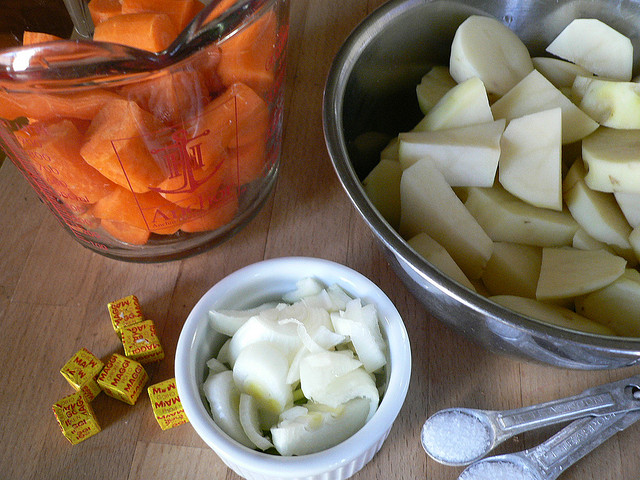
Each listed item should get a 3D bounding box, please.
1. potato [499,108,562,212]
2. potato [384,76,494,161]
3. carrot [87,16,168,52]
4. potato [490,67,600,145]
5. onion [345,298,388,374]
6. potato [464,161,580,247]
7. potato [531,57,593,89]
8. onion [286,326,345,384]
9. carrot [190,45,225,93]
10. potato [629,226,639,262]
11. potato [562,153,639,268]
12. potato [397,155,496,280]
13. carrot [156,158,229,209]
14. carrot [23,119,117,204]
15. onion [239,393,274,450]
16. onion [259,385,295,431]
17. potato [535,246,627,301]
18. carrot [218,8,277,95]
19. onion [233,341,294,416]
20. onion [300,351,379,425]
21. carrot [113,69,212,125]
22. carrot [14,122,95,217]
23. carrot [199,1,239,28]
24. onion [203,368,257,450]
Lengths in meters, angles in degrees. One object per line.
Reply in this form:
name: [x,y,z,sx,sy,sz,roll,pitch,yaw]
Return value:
potato: [0.265,-0.102,0.823,0.088,0.071,0.121,2,70,-5]
potato: [0.171,-0.163,0.847,0.029,0.085,0.073,27,59,-17]
carrot: [-0.204,-0.223,0.705,0.063,0.037,0.048,6,39,16]
potato: [0.285,-0.136,0.803,0.089,0.029,0.122,2,85,-2]
onion: [0.054,0.102,0.764,0.033,0.023,0.086,-20,85,18]
potato: [0.251,-0.039,0.822,0.089,0.040,0.126,-5,71,1]
potato: [0.339,-0.235,0.939,0.042,0.018,0.074,18,36,-26]
onion: [-0.007,0.121,0.737,0.017,0.059,0.057,27,39,-16]
carrot: [-0.117,-0.177,0.705,0.035,0.060,0.011,-27,70,-16]
potato: [0.380,0.001,0.809,0.006,0.026,0.030,1,90,14]
potato: [0.346,-0.039,0.820,0.026,0.092,0.117,-27,59,28]
potato: [0.156,-0.029,0.857,0.101,0.055,0.144,-44,91,7]
carrot: [-0.149,-0.067,0.766,0.050,0.060,0.003,-24,56,-21]
carrot: [-0.272,-0.086,0.730,0.073,0.079,0.019,46,56,3]
onion: [-0.073,0.196,0.725,0.013,0.041,0.053,-25,94,8]
onion: [-0.051,0.191,0.739,0.034,0.017,0.051,-18,60,32]
potato: [0.307,0.034,0.789,0.091,0.027,0.070,-16,55,14]
carrot: [-0.077,-0.202,0.731,0.057,0.107,0.092,1,90,-3]
onion: [-0.057,0.145,0.744,0.061,0.078,0.018,29,29,15]
onion: [0.030,0.155,0.755,0.072,0.103,0.039,-18,97,-6]
carrot: [-0.157,-0.152,0.701,0.050,0.031,0.069,23,38,34]
carrot: [-0.297,-0.064,0.761,0.021,0.155,0.040,-21,40,2]
carrot: [-0.102,-0.231,0.672,0.042,0.010,0.008,-34,75,-16]
onion: [-0.101,0.180,0.724,0.020,0.060,0.075,-26,82,9]
